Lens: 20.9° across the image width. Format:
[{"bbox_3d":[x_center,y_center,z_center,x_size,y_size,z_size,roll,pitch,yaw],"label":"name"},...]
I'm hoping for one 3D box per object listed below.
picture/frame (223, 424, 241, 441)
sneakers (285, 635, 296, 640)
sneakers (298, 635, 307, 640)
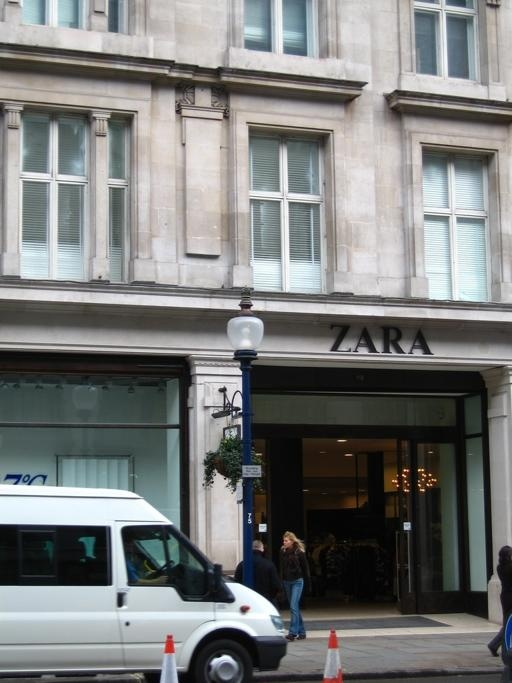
[{"bbox_3d":[-0.336,1.403,20.860,0.274,0.282,0.029,-7,-54,21],"label":"picture/frame"},{"bbox_3d":[0.543,4.384,20.349,0.148,0.066,0.052,4,-9,10],"label":"sneakers"},{"bbox_3d":[0.709,4.402,20.476,0.073,0.080,0.212,-7,-9,29],"label":"sneakers"}]
